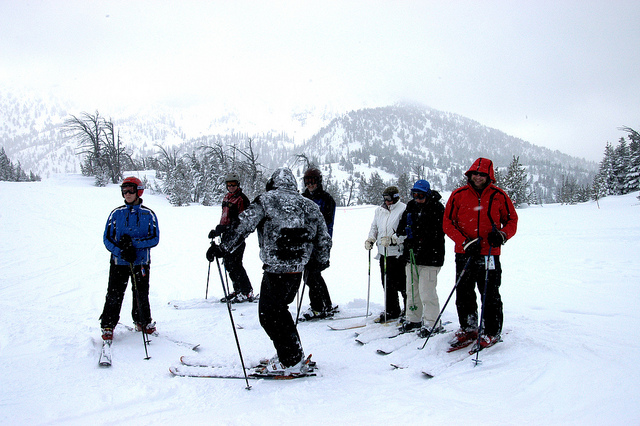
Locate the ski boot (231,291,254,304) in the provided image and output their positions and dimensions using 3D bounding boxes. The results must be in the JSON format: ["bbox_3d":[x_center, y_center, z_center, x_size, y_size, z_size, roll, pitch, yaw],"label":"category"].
[{"bbox_3d":[-2.036,2.214,13.223,0.508,0.315,0.265,-1,-19,-1],"label":"ski boot"}]

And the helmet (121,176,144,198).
[{"bbox_3d":[-4.149,-0.575,11.277,0.396,0.554,0.490,2,15,-10],"label":"helmet"}]

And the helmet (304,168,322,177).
[{"bbox_3d":[-0.174,-0.948,11.664,0.208,0.268,0.265,6,-5,-42],"label":"helmet"}]

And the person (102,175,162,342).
[{"bbox_3d":[-4.198,1.025,11.067,1.398,3.584,1.042,-9,15,-31],"label":"person"}]

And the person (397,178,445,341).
[{"bbox_3d":[2.221,0.969,11.147,1.031,3.365,0.991,7,15,36],"label":"person"}]

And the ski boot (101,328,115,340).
[{"bbox_3d":[-4.534,2.583,10.758,0.165,0.258,0.095,2,-6,-9],"label":"ski boot"}]

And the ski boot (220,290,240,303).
[{"bbox_3d":[-2.386,2.260,13.499,0.644,0.312,0.229,-8,-35,29],"label":"ski boot"}]

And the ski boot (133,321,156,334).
[{"bbox_3d":[-3.905,2.568,11.266,0.569,0.208,0.249,16,20,39],"label":"ski boot"}]

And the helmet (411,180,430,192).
[{"bbox_3d":[2.288,-0.631,11.142,0.222,0.265,0.322,17,19,29],"label":"helmet"}]

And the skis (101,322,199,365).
[{"bbox_3d":[-3.727,2.856,10.880,2.082,0.224,0.229,15,-10,3],"label":"skis"}]

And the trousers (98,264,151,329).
[{"bbox_3d":[-4.249,1.643,11.126,1.163,2.277,0.588,-4,25,-32],"label":"trousers"}]

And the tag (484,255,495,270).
[{"bbox_3d":[3.504,1.015,10.329,0.257,0.379,0.038,-2,3,5],"label":"tag"}]

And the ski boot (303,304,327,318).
[{"bbox_3d":[-0.121,2.434,12.344,0.432,0.195,0.279,-15,-4,-3],"label":"ski boot"}]

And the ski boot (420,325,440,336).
[{"bbox_3d":[2.437,2.593,11.078,0.485,0.240,0.172,3,-24,-9],"label":"ski boot"}]

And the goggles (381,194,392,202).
[{"bbox_3d":[1.599,-0.369,11.844,0.178,0.152,0.145,-10,0,25],"label":"goggles"}]

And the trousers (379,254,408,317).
[{"bbox_3d":[1.805,1.713,11.755,0.468,1.525,0.359,1,13,12],"label":"trousers"}]

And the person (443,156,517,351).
[{"bbox_3d":[3.322,0.796,10.470,1.337,3.826,1.021,4,13,22],"label":"person"}]
